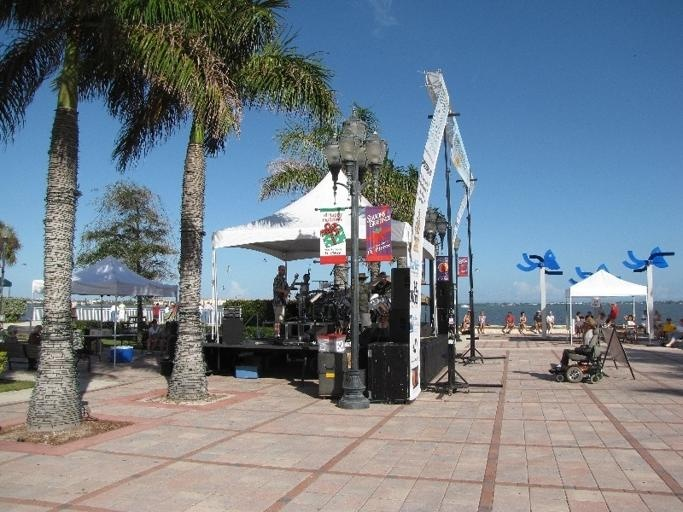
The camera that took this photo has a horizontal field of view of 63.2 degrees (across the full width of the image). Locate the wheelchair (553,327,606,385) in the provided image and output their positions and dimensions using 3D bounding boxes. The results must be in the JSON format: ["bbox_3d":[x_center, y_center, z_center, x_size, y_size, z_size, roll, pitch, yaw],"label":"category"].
[{"bbox_3d":[6.400,2.631,15.104,1.021,1.509,1.223,1,2,13],"label":"wheelchair"}]

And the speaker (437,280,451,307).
[{"bbox_3d":[3.627,1.378,19.940,0.491,0.916,0.627,-2,-8,21],"label":"speaker"}]

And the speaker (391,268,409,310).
[{"bbox_3d":[1.324,0.750,12.600,0.530,0.958,0.296,-4,-8,29],"label":"speaker"}]

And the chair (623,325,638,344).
[{"bbox_3d":[15.884,4.361,30.437,0.585,0.829,1.419,-3,-13,24],"label":"chair"}]

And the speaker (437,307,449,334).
[{"bbox_3d":[3.609,2.347,19.940,0.334,0.878,0.502,-2,-7,16],"label":"speaker"}]
